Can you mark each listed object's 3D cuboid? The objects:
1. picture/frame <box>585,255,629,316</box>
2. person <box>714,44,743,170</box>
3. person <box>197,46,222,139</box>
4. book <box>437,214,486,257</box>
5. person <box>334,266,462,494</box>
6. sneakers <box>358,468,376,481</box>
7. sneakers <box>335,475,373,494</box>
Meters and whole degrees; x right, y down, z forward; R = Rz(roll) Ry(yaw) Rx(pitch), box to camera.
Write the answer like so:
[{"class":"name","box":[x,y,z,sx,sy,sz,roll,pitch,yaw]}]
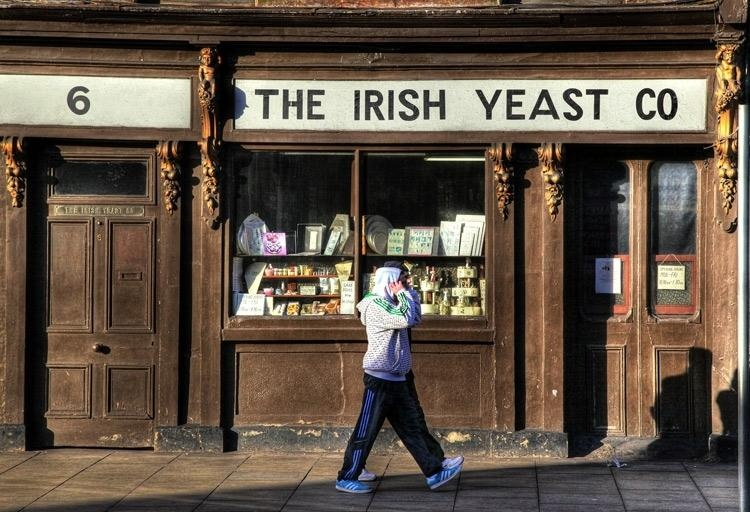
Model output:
[{"class":"picture/frame","box":[3.172,0.399,18.036,0.549,0.702,0.132,-2,0,-5]},{"class":"person","box":[4.689,-2.029,17.629,0.383,1.324,0.165,-2,0,12]},{"class":"person","box":[-2.201,-2.160,17.935,0.298,1.184,0.139,-2,0,-7]},{"class":"book","box":[1.219,-0.286,18.174,0.655,0.535,0.225,3,0,18]},{"class":"person","box":[0.213,1.518,16.478,1.411,2.563,0.355,-2,0,0]},{"class":"sneakers","box":[-0.037,2.760,16.873,0.299,0.116,0.099,3,-4,-21]},{"class":"sneakers","box":[-0.267,2.830,16.551,0.482,0.181,0.168,0,1,6]}]
